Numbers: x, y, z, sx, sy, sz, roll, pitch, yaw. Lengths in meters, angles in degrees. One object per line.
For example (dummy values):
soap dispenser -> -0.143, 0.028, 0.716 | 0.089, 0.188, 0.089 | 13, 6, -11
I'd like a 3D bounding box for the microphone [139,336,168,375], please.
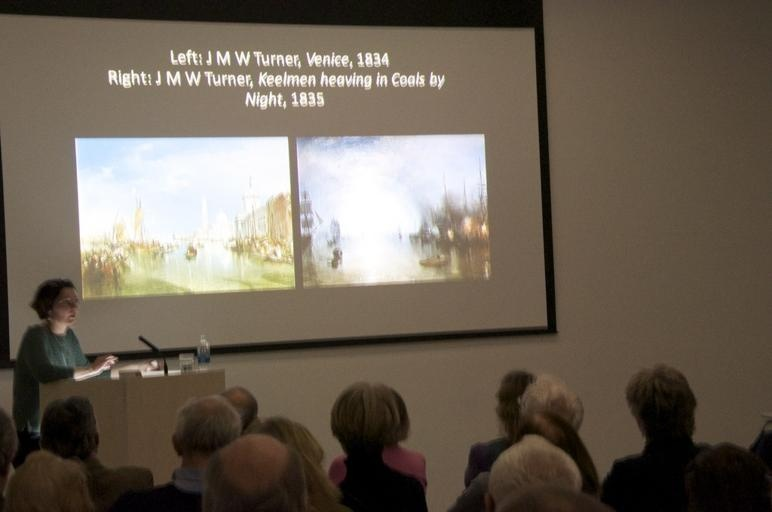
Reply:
microphone -> -1.770, 0.757, 4.773 | 0.052, 0.301, 0.172 | -11, 14, 12
